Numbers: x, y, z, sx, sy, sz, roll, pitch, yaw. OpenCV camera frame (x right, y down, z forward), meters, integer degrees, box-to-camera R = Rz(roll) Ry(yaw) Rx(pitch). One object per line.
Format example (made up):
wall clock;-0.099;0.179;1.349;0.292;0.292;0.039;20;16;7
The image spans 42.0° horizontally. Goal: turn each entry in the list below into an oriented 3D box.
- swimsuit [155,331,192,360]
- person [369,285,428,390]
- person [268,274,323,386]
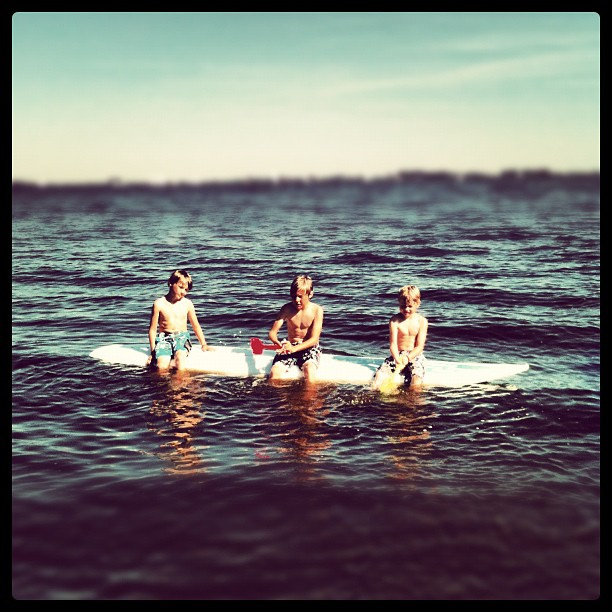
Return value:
swimsuit;-1.727;0.499;10.306;0.619;0.359;0.343;-1;-12;-11
person;1.125;0.374;9.456;0.625;1.217;0.529;3;6;6
person;-0.113;0.287;9.728;0.626;1.308;0.573;2;6;0
